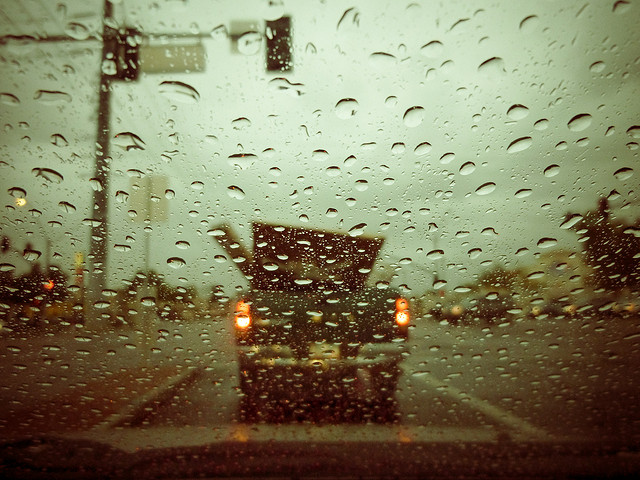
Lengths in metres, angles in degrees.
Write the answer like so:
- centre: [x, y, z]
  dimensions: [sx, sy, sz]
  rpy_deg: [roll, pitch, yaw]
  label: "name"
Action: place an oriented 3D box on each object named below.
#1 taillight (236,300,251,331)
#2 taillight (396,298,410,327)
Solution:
- centre: [-0.318, 0.315, 2.692]
  dimensions: [0.064, 0.119, 0.039]
  rpy_deg: [3, -14, -3]
  label: "taillight"
- centre: [0.348, 0.301, 2.699]
  dimensions: [0.055, 0.117, 0.037]
  rpy_deg: [1, -14, 7]
  label: "taillight"
